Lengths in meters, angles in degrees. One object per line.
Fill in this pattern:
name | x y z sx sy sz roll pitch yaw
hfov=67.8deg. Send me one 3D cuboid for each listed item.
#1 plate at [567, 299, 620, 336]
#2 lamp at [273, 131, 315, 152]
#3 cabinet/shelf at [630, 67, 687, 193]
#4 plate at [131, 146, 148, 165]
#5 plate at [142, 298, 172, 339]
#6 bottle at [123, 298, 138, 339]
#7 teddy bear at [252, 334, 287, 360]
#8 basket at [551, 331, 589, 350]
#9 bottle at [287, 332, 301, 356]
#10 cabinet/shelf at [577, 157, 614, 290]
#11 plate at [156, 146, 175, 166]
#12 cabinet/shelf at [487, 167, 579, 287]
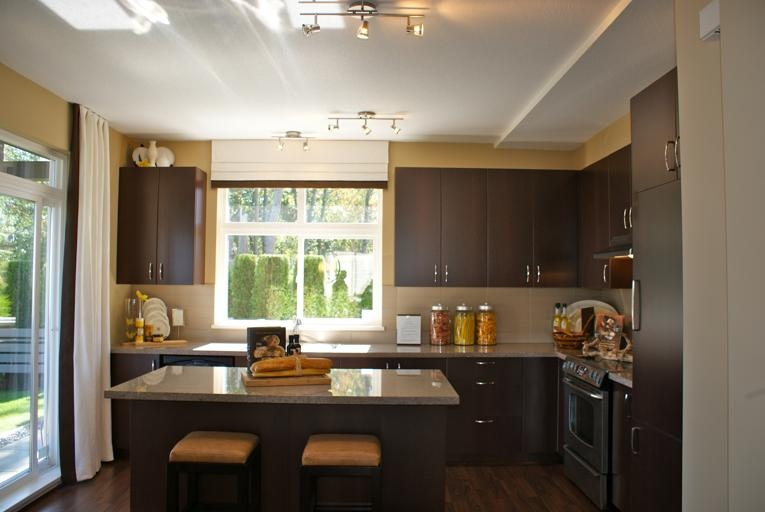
plate | 2.003 0.577 5.466 0.196 0.296 0.584 -1 -3 -18
lamp | -0.897 -1.121 5.631 0.368 0.175 0.346 -1 -3 -7
cabinet/shelf | 1.673 -0.770 3.521 0.193 0.700 0.617 -2 -3 3
plate | -2.426 -0.993 5.640 0.106 0.232 0.220 1 -4 -38
plate | -2.230 0.609 5.618 0.259 0.378 0.156 0 -3 -30
bottle | -2.450 0.624 5.526 0.101 0.403 0.181 0 -3 -25
teddy bear | -0.776 0.623 3.891 0.150 0.091 0.176 2 1 -1
basket | 1.728 0.782 5.274 0.292 0.154 0.232 -3 -3 19
bottle | -0.641 0.620 4.018 0.087 0.135 0.199 -1 -3 -15
cabinet/shelf | 1.894 -0.281 5.530 0.359 1.153 0.660 -4 6 -7
plate | -2.151 -1.006 5.676 0.173 0.187 0.182 2 15 0
cabinet/shelf | 1.482 -0.358 5.726 0.938 1.288 0.468 -1 27 11
